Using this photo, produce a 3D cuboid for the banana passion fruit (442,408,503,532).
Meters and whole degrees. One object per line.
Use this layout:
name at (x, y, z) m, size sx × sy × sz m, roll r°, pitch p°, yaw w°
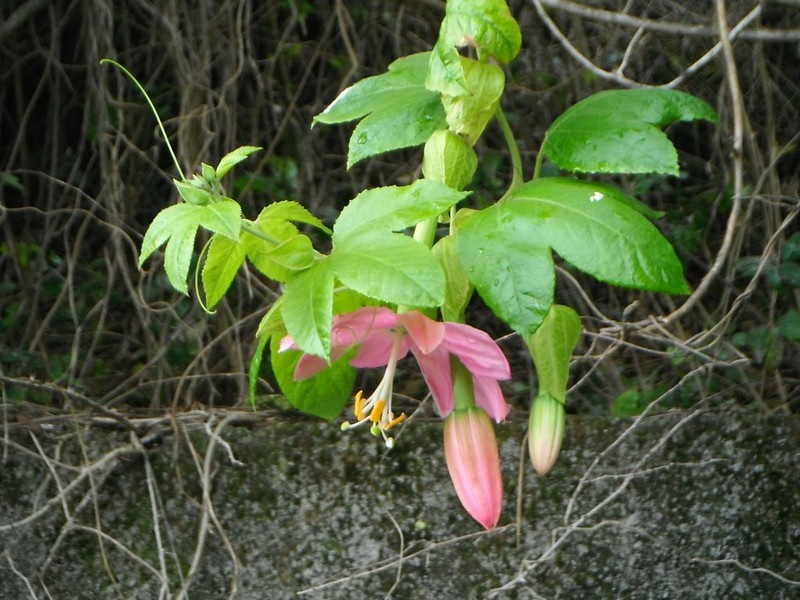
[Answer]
banana passion fruit at (0.120, 0.278, 1.584) m, size 0.101 × 0.061 × 0.213 m, roll 4°, pitch 55°, yaw -23°
